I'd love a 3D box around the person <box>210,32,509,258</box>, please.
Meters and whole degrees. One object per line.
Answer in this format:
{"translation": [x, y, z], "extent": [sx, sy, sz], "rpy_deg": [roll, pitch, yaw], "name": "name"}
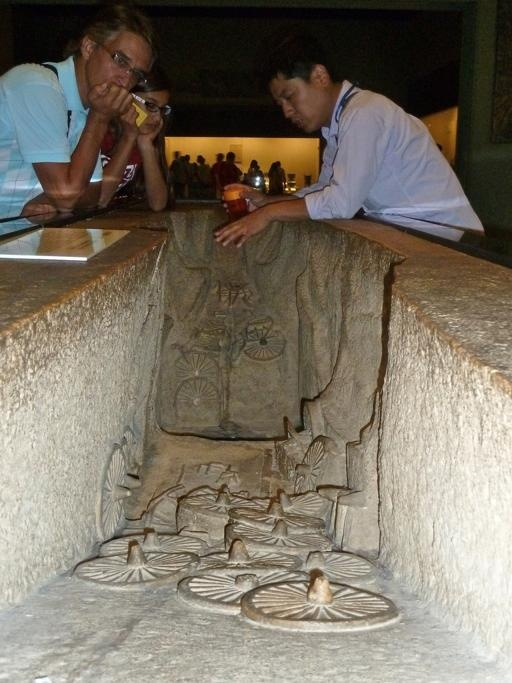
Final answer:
{"translation": [0.344, -0.727, 1.968], "extent": [1.007, 0.660, 0.492], "rpy_deg": [-7, 21, -8], "name": "person"}
